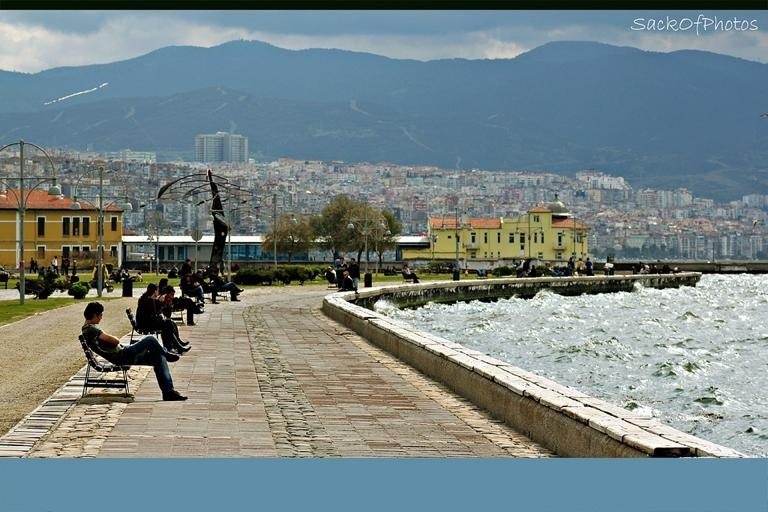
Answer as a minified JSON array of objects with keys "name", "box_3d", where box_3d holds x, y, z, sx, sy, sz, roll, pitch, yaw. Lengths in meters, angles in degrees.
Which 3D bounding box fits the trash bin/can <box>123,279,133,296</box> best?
[{"name":"trash bin/can","box_3d":[-12.516,1.522,56.813,0.461,0.846,0.847,0,5,-17]}]

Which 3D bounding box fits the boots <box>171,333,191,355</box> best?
[{"name":"boots","box_3d":[-5.881,2.628,33.684,0.590,0.288,0.881,-7,7,-11]}]
